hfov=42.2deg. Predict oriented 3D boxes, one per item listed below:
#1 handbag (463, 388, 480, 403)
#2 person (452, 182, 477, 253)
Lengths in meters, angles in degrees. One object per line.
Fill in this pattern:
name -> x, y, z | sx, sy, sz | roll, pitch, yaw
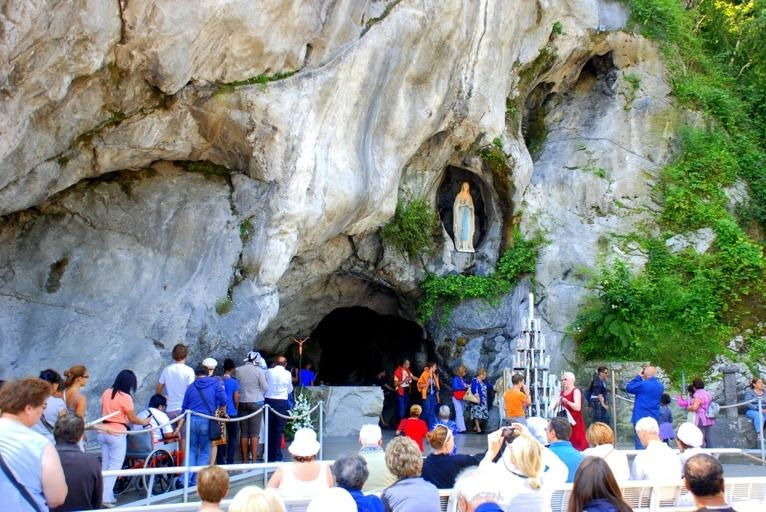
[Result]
handbag -> 1.987, 3.063, 22.075 | 0.325, 0.244, 0.116 | 27, -47, -36
person -> 2.082, -0.976, 25.418 | 0.496, 1.672, 0.580 | 1, -15, -1
